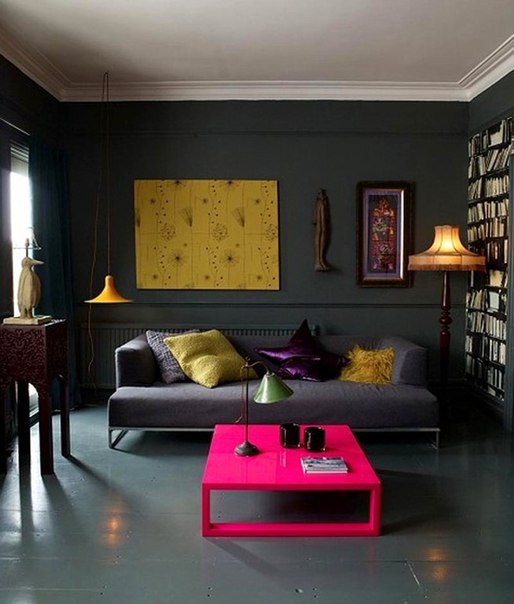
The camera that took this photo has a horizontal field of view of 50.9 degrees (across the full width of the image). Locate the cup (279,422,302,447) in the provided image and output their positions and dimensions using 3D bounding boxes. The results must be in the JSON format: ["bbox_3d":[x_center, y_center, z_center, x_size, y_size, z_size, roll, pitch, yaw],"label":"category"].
[{"bbox_3d":[0.183,0.708,2.924,0.112,0.119,0.113,1,-2,0],"label":"cup"}]

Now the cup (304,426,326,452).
[{"bbox_3d":[0.302,0.715,2.842,0.090,0.093,0.121,0,-2,3],"label":"cup"}]

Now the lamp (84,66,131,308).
[{"bbox_3d":[-1.273,-0.910,4.531,0.328,1.939,0.933,-1,4,-18],"label":"lamp"}]

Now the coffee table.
[{"bbox_3d":[0.167,0.882,2.831,0.831,0.346,0.827,0,5,0],"label":"coffee table"}]

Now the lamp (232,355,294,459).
[{"bbox_3d":[0.030,0.504,2.621,0.285,0.439,0.187,-3,7,-23],"label":"lamp"}]

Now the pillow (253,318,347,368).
[{"bbox_3d":[0.346,0.351,4.280,0.395,0.129,0.383,-7,22,-26],"label":"pillow"}]
